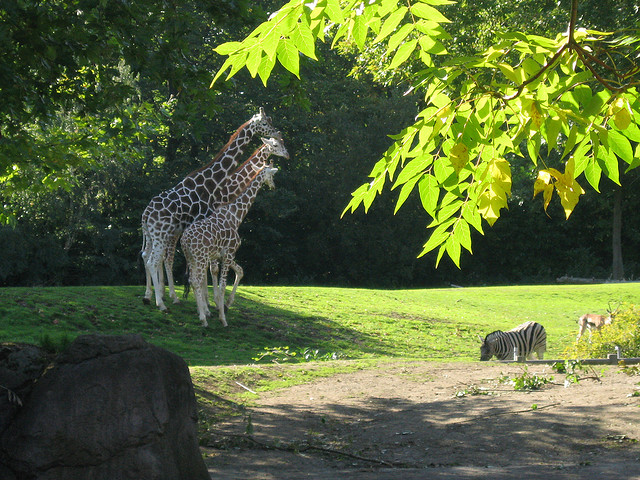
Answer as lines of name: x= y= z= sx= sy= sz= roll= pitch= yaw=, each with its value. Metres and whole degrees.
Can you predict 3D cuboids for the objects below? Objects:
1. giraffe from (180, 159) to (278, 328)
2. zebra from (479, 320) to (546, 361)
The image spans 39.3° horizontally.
giraffe: x=-2.159 y=-0.028 z=18.980 sx=1.725 sy=3.352 sz=3.072 roll=5 pitch=8 yaw=15
zebra: x=3.373 y=1.902 z=15.626 sx=1.457 sy=0.802 sz=0.437 roll=-6 pitch=1 yaw=-30
